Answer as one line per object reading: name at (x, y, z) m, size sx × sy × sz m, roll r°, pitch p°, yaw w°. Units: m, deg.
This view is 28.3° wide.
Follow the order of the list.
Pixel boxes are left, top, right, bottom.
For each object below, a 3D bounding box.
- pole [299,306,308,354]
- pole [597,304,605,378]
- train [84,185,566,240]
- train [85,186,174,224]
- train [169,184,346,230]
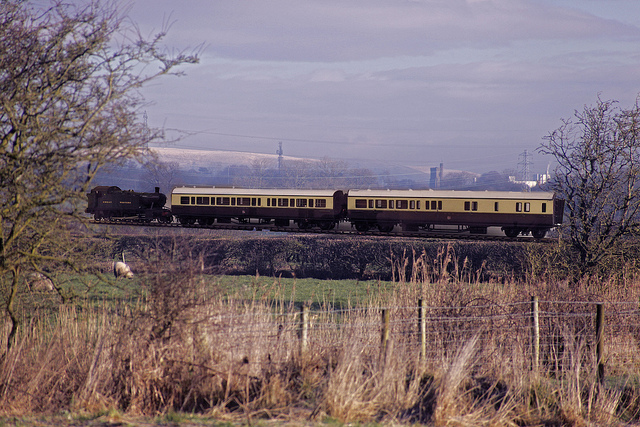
pole at (-0.520, 3.663, 39.851) m, size 0.241 × 1.430 × 0.668 m, roll 1°, pitch -2°, yaw -1°
pole at (8.794, 4.051, 40.108) m, size 0.207 × 2.284 × 0.392 m, roll 0°, pitch -2°, yaw 12°
train at (0.180, 0.075, 61.298) m, size 21.212 × 2.354 × 2.504 m, roll 1°, pitch 2°, yaw 16°
train at (-10.023, -0.412, 66.826) m, size 4.775 × 1.942 × 1.257 m, roll 0°, pitch -2°, yaw 28°
train at (-3.035, 0.014, 63.347) m, size 9.201 × 2.278 × 1.601 m, roll 1°, pitch -18°, yaw 25°
